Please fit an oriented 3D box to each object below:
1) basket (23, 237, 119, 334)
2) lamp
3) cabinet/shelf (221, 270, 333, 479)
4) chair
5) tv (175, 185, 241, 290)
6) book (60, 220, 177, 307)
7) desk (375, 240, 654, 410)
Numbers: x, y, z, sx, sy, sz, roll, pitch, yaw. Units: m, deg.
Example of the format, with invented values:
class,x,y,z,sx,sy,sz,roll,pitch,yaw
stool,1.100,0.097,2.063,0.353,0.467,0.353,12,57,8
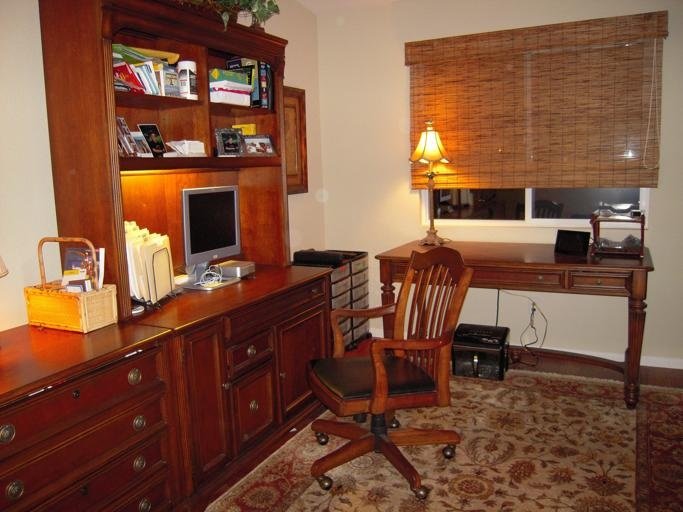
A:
class,x,y,z,sx,sy,sz,roll,pitch,yaw
basket,-1.378,0.125,2.537,0.468,0.429,0.259,6,16,31
lamp,0.740,-0.614,4.249,0.326,1.013,0.655,0,14,9
cabinet/shelf,-0.408,0.725,3.033,0.418,0.923,1.011,2,12,23
chair,0.227,0.545,3.443,1.230,1.648,1.204,-2,8,-21
tv,-0.848,-0.116,3.194,0.240,0.674,0.584,2,10,23
book,-1.183,-0.008,2.887,0.364,0.636,0.653,0,8,6
desk,1.295,0.415,3.998,1.882,0.958,0.735,3,15,21
